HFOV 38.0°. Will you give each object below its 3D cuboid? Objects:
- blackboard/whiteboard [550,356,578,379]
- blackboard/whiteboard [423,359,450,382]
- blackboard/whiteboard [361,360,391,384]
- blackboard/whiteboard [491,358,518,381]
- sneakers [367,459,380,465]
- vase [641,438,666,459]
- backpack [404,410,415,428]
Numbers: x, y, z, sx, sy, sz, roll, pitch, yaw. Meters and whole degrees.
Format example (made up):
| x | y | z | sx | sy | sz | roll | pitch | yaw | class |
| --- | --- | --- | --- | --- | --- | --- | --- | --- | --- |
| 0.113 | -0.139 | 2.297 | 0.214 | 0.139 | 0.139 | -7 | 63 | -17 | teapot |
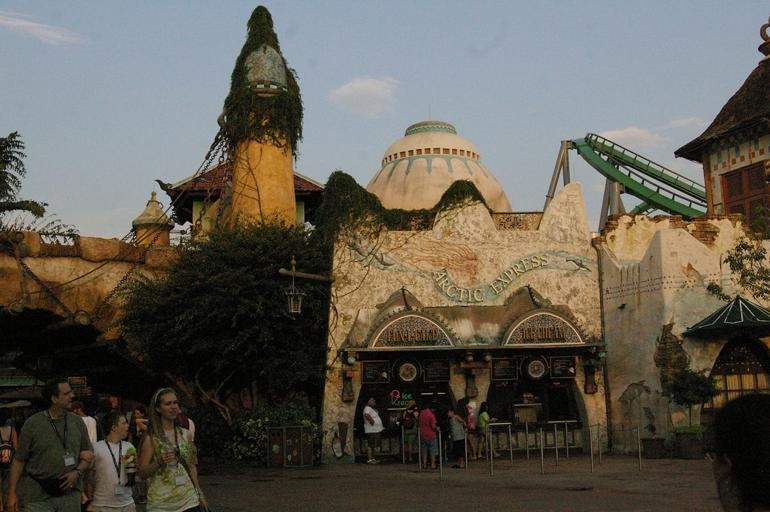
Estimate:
| x | y | z | sx | sy | sz | roll | pitch | yaw | class |
| --- | --- | --- | --- | --- | --- | --- | --- | --- | --- |
| 6.203 | 3.821 | 38.956 | 0.880 | 0.722 | 0.119 | -1 | -2 | -7 | blackboard/whiteboard |
| 1.773 | 4.006 | 38.947 | 1.191 | 0.983 | 0.693 | 2 | -20 | -5 | blackboard/whiteboard |
| -0.333 | 3.988 | 38.449 | 1.280 | 0.862 | 0.665 | 1 | -9 | -8 | blackboard/whiteboard |
| 4.160 | 3.957 | 39.182 | 1.275 | 1.003 | 0.668 | 1 | -13 | -5 | blackboard/whiteboard |
| -0.395 | 6.820 | 37.120 | 0.442 | 0.178 | 0.160 | 1 | -2 | -3 | sneakers |
| 8.844 | 6.292 | 36.533 | 0.800 | 0.579 | 0.717 | -10 | -18 | 37 | vase |
| 0.829 | 5.432 | 37.293 | 0.548 | 0.742 | 0.393 | 1 | -16 | -2 | backpack |
